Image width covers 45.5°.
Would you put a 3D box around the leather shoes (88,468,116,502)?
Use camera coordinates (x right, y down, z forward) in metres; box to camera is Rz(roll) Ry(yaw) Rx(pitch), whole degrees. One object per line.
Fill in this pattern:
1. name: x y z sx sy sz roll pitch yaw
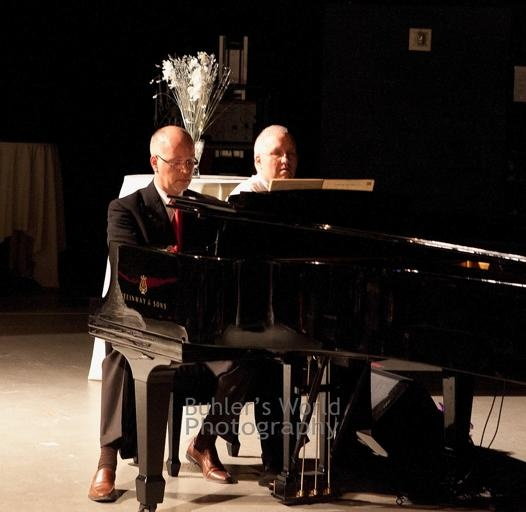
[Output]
1. leather shoes: -0.634 0.905 2.503 0.103 0.122 0.274 1 -11 -9
